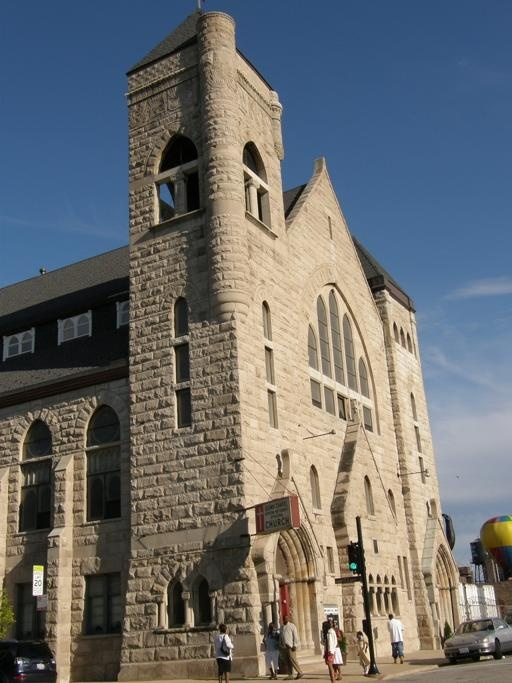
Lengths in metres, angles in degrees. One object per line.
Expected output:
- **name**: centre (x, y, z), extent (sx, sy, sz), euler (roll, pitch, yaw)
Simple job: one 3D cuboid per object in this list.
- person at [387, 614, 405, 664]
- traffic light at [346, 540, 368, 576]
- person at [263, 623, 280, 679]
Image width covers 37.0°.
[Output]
- **person**: centre (4.377, 9.156, 23.647), extent (0.459, 1.442, 2.417), euler (-9, -22, 6)
- **traffic light**: centre (2.684, 5.782, 20.465), extent (0.407, 0.897, 0.559), euler (-8, -22, 3)
- **person**: centre (0.392, 7.456, 18.537), extent (0.390, 1.235, 0.953), euler (-6, -22, -2)
